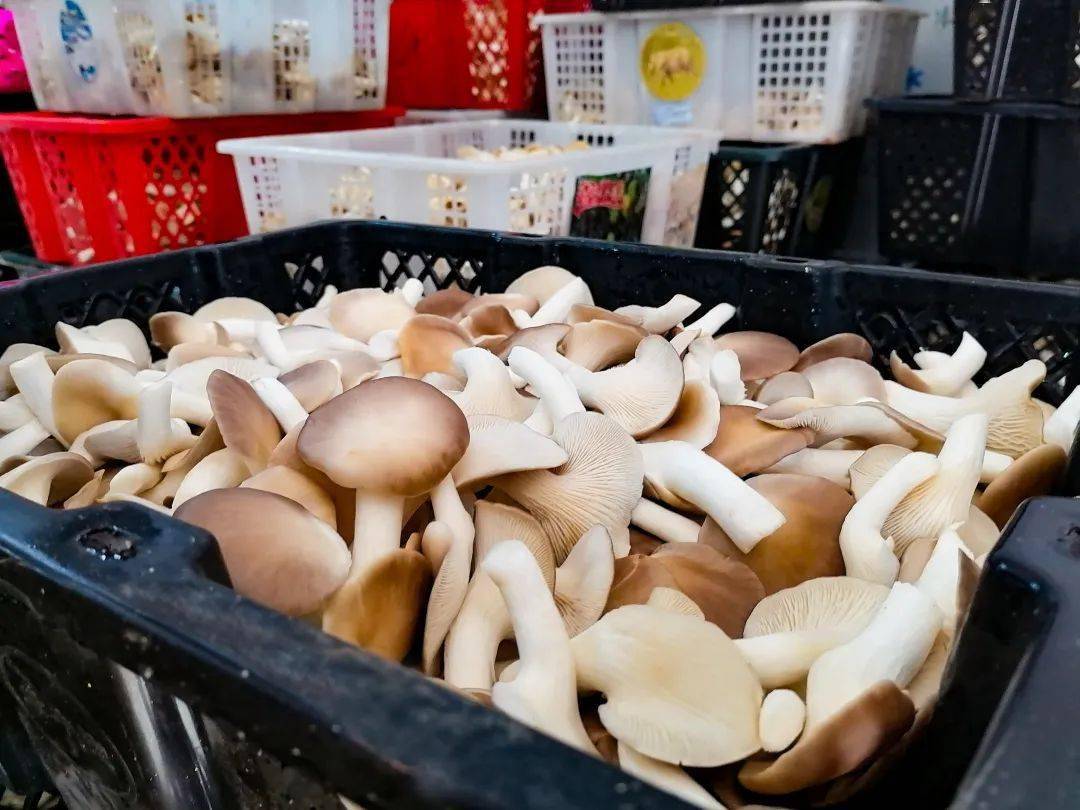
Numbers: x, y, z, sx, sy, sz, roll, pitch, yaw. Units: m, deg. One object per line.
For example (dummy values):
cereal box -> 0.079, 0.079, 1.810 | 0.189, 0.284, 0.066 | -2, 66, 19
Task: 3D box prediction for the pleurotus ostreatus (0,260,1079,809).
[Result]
pleurotus ostreatus -> 0.014, 0.082, 0.546 | 0.583, 0.219, 0.419 | 6, 18, 12
